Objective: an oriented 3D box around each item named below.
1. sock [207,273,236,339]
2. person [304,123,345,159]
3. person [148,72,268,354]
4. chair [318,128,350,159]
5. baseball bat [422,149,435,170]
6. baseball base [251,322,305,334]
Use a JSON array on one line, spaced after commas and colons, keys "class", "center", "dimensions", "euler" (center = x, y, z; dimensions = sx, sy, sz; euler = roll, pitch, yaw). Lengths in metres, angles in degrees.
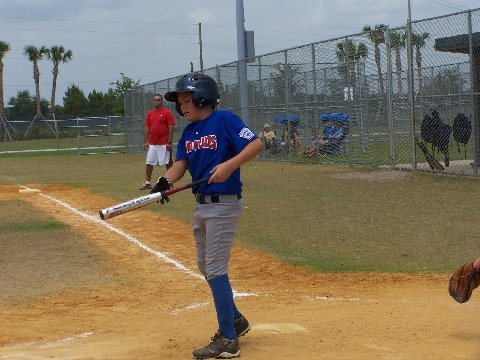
[{"class": "sock", "center": [-0.137, 1.338, 8.370], "dimensions": [0.263, 0.798, 0.228], "euler": [-10, 17, -10]}, {"class": "person", "center": [2.705, -1.165, 23.372], "dimensions": [1.157, 0.493, 0.898], "euler": [-23, 3, -10]}, {"class": "person", "center": [-0.286, 0.320, 8.535], "dimensions": [1.059, 3.002, 1.407], "euler": [-3, 13, -4]}, {"class": "chair", "center": [2.877, -1.030, 23.442], "dimensions": [0.876, 0.937, 0.714], "euler": [2, 6, -3]}, {"class": "baseball bat", "center": [4.534, -0.475, 18.448], "dimensions": [0.070, 0.586, 0.135], "euler": [-18, -18, -45]}, {"class": "baseball base", "center": [0.429, 1.715, 8.689], "dimensions": [0.586, 0.048, 0.251], "euler": [0, 13, 4]}]
